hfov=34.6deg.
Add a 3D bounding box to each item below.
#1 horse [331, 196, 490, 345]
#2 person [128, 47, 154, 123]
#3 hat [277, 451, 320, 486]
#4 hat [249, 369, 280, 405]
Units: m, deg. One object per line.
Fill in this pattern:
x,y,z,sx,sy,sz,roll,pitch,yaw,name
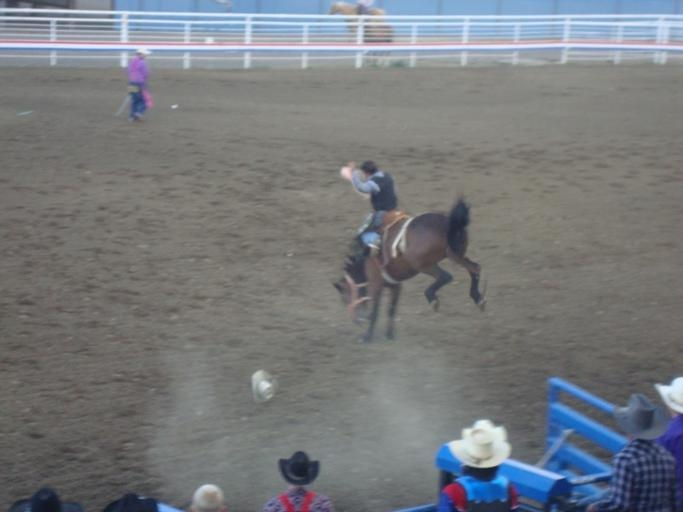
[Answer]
1.013,0.172,16.994,2.155,2.230,0.765,7,14,31,horse
-4.173,-3.440,22.345,0.448,1.445,0.986,-1,11,-10,person
-0.514,2.473,13.110,0.553,0.187,0.522,14,26,19,hat
-1.136,1.844,15.800,0.382,0.490,0.696,0,10,-4,hat
